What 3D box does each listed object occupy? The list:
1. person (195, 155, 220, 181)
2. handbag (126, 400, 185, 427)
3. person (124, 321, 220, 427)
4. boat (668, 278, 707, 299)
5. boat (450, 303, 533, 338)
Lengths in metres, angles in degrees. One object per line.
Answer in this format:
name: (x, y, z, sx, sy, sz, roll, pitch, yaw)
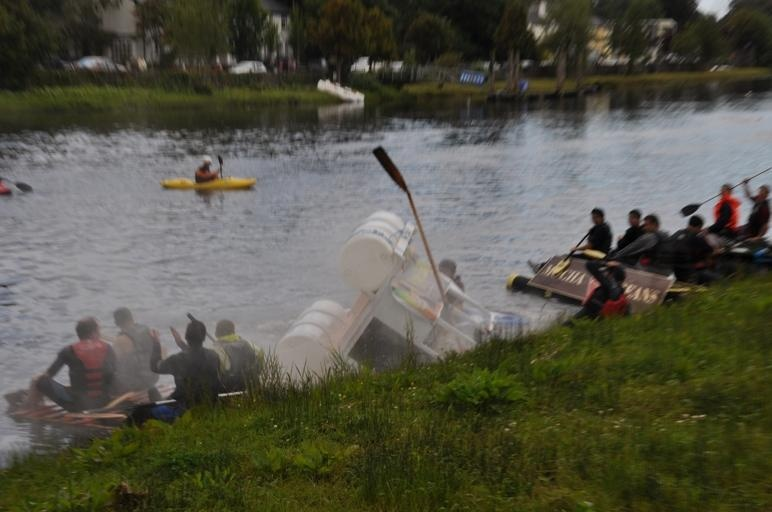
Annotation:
person: (-5.279, -2.570, 23.077, 0.672, 0.853, 0.611, -11, 43, -16)
handbag: (-3.300, 2.262, 11.144, 0.607, 0.219, 0.421, -1, 3, 22)
person: (-3.183, 1.815, 11.474, 0.821, 1.316, 1.119, 14, -11, 19)
boat: (5.178, 0.611, 13.341, 0.643, 0.175, 0.534, 5, 19, 20)
boat: (1.769, 1.147, 13.137, 0.800, 0.181, 0.816, -3, 16, -38)
